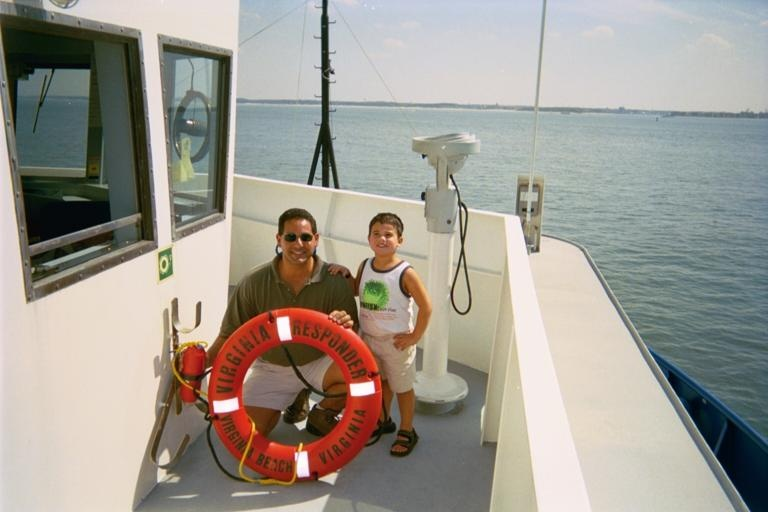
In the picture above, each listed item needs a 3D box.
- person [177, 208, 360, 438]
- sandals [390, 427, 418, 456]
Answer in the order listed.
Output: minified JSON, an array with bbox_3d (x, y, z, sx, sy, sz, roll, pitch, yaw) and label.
[{"bbox_3d":[-0.783,0.518,3.853,1.408,1.505,0.816,2,25,-12],"label":"person"},{"bbox_3d":[0.139,1.309,3.938,0.094,0.101,0.269,0,-1,19],"label":"sandals"}]
